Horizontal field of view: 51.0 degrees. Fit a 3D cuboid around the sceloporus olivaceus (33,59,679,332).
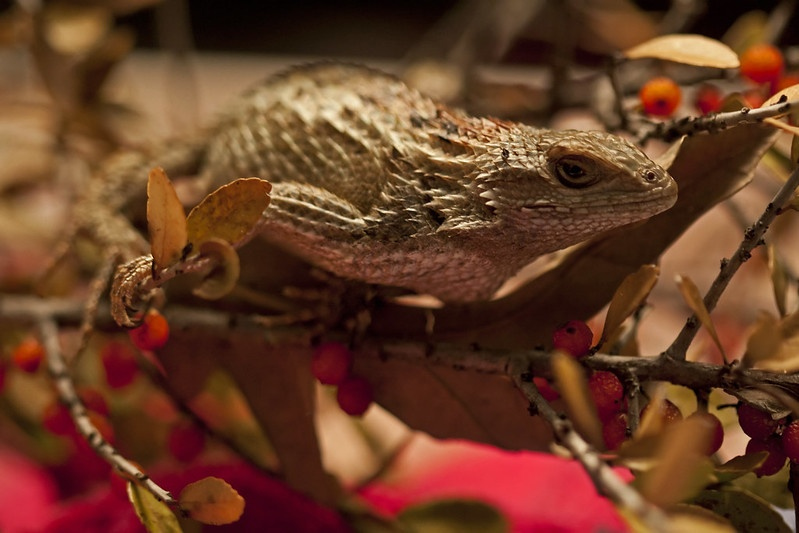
[{"bbox_3d":[-0.059,-0.146,1.220,0.847,0.255,0.327,5,53,0],"label":"sceloporus olivaceus"}]
